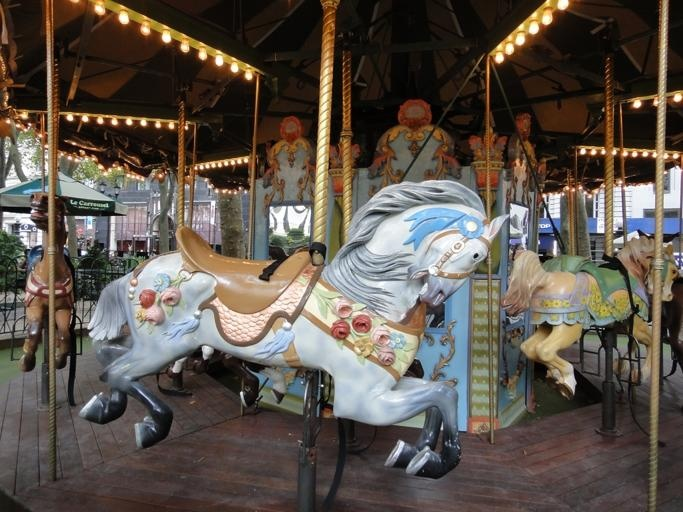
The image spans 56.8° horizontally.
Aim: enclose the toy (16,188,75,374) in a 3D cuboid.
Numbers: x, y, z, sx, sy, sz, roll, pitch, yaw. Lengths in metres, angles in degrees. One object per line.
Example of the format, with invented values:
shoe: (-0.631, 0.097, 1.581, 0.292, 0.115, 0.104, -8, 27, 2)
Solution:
toy: (-3.216, 0.324, 6.896, 0.543, 2.006, 1.071, 0, 2, -25)
